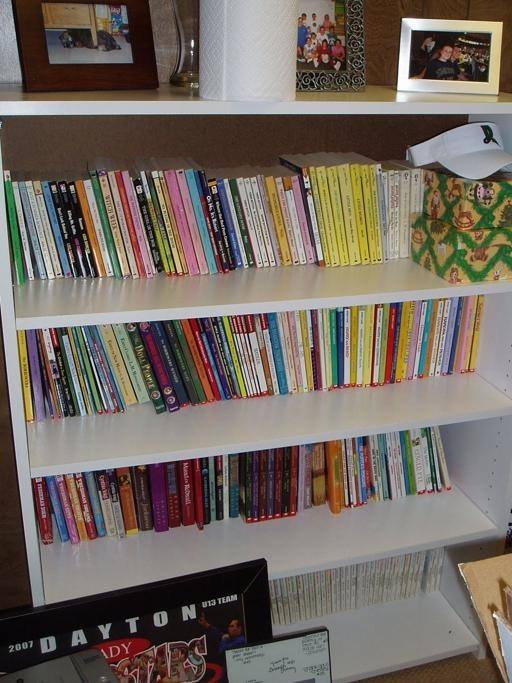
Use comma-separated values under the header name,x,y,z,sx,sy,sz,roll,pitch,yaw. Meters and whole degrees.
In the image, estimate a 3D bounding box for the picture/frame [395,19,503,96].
name,x,y,z,sx,sy,sz,roll,pitch,yaw
picture/frame,0.340,-0.502,0.953,0.167,0.121,0.012,2,3,-1
